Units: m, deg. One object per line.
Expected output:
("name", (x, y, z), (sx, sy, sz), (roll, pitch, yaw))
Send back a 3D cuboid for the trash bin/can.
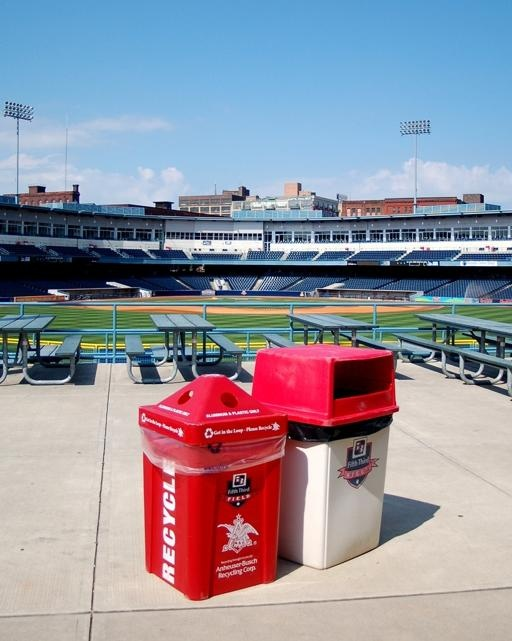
("trash bin/can", (0.113, 0.886, 4.150), (1.354, 1.042, 0.672), (-2, 2, -37))
